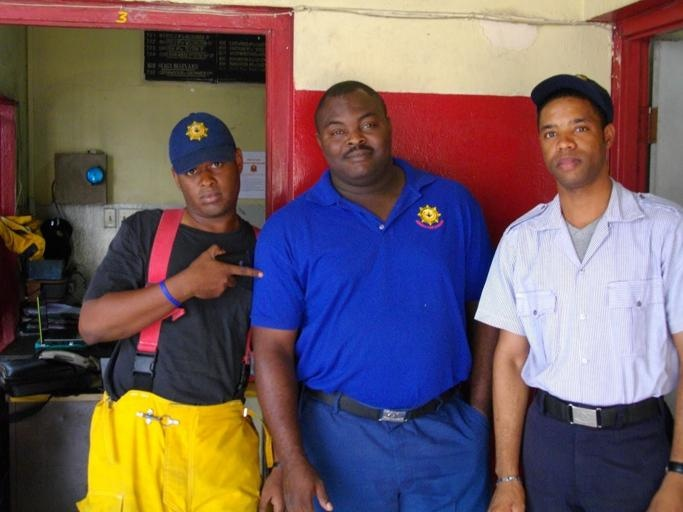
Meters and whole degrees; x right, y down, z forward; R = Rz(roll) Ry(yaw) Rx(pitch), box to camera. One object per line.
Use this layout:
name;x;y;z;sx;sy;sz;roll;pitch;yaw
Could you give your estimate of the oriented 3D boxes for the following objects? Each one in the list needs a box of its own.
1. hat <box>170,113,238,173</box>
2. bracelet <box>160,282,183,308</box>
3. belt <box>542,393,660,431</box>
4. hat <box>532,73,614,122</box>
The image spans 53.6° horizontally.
hat;-0.592;-0.497;2.812;0.328;0.199;0.385;-18;19;-18
bracelet;-0.656;0.148;2.530;0.022;0.085;0.086;-42;17;-10
belt;0.917;0.546;2.377;0.402;0.105;0.087;0;3;14
hat;0.832;-0.605;2.554;0.230;0.151;0.296;1;-1;6
